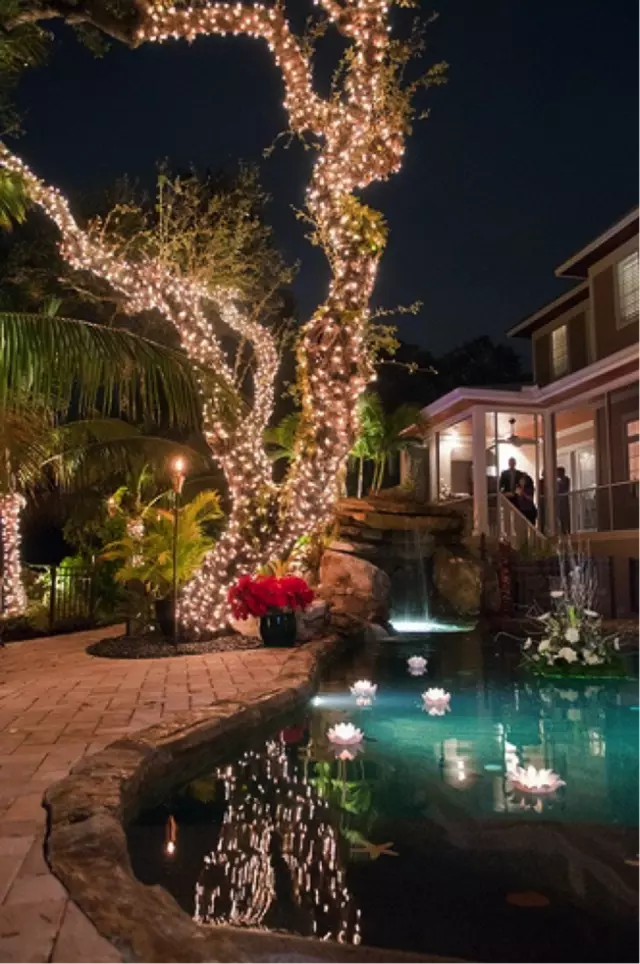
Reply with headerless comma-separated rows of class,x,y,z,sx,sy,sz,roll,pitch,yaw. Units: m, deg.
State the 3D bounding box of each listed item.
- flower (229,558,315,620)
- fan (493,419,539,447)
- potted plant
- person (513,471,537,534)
flower,-0.715,1.602,9.173,0.870,0.610,0.806,-2,0,-22
fan,6.429,-1.530,20.661,1.278,0.490,1.323,-3,-2,5
potted plant,-2.235,1.448,10.167,1.312,1.630,1.372,16,-3,-31
person,5.523,0.646,17.333,0.576,1.709,0.625,-4,-45,15
